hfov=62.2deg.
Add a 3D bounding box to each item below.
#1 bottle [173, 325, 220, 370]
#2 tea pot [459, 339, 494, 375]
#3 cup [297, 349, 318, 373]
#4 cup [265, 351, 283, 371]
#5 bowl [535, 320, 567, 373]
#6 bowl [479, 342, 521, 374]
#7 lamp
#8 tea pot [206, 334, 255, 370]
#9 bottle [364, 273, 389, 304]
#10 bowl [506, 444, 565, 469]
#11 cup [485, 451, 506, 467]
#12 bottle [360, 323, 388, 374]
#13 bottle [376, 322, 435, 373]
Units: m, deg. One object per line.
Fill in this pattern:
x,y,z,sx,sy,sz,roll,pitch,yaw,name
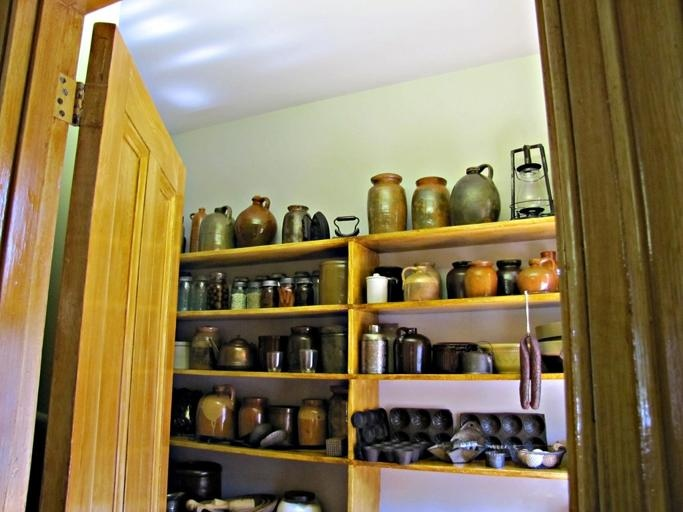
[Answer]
-0.713,0.463,2.845,0.270,0.203,0.159,-8,-15,27,bottle
0.536,0.405,2.259,0.112,0.119,0.113,-1,-6,0,tea pot
-0.140,0.459,2.493,0.093,0.105,0.094,0,-3,0,cup
-0.304,0.484,2.602,0.082,0.090,0.082,0,-16,0,cup
0.788,0.339,2.136,0.092,0.196,0.218,-7,-14,19,bowl
0.651,0.399,2.264,0.127,0.082,0.126,1,-4,0,bowl
0.797,-0.307,2.390,0.175,0.302,0.174,-6,2,17,lamp
-0.513,0.484,2.796,0.206,0.158,0.256,-3,-11,21,tea pot
0.152,0.138,2.419,0.121,0.121,0.082,3,-11,-10,bottle
0.740,0.750,2.127,0.189,0.076,0.186,-2,-13,-1,bowl
0.570,0.748,2.094,0.061,0.042,0.060,-1,-3,0,cup
0.142,0.397,2.413,0.118,0.201,0.119,1,-12,0,bottle
0.240,0.394,2.399,0.243,0.230,0.142,2,-8,-14,bottle
